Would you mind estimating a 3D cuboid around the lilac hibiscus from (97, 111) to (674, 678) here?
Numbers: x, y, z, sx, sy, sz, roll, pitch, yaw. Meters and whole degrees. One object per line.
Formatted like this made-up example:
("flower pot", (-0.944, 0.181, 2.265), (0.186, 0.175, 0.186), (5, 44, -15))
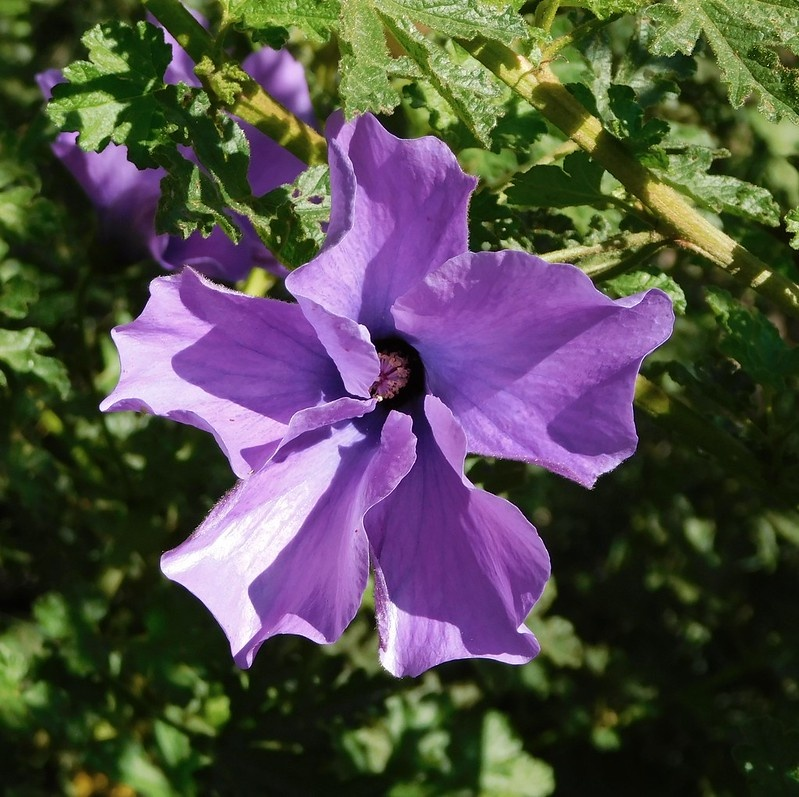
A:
("lilac hibiscus", (-0.022, 0.007, 0.832), (0.401, 0.439, 0.286), (22, 29, 21))
